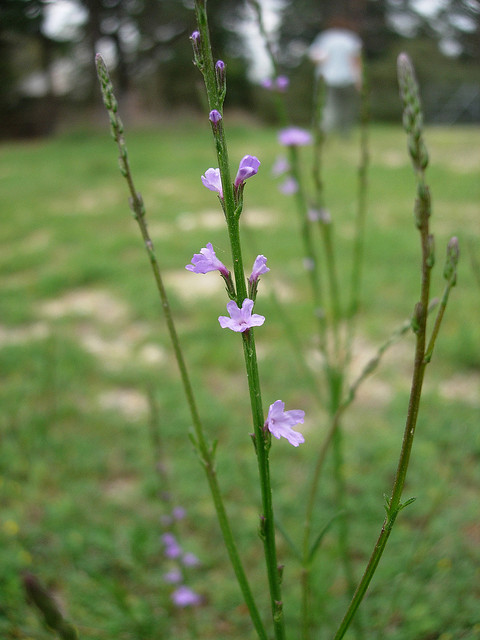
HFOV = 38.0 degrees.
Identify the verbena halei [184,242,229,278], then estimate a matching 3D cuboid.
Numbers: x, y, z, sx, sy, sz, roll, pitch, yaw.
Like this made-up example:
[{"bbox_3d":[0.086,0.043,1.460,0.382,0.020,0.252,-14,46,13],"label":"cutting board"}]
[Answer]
[{"bbox_3d":[-0.057,-0.080,1.067,0.065,0.024,0.059,30,28,-4],"label":"verbena halei"}]
